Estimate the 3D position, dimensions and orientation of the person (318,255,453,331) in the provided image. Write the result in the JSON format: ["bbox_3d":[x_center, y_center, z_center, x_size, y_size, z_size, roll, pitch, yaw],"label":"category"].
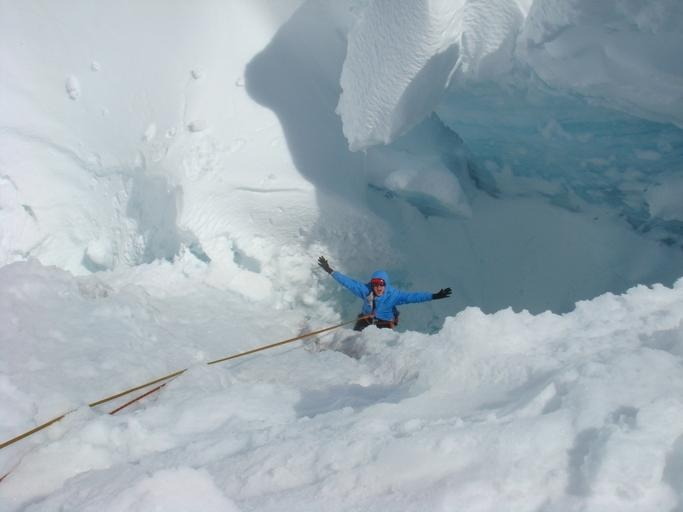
[{"bbox_3d":[0.356,0.628,5.695,1.126,1.028,0.306,10,19,15],"label":"person"}]
